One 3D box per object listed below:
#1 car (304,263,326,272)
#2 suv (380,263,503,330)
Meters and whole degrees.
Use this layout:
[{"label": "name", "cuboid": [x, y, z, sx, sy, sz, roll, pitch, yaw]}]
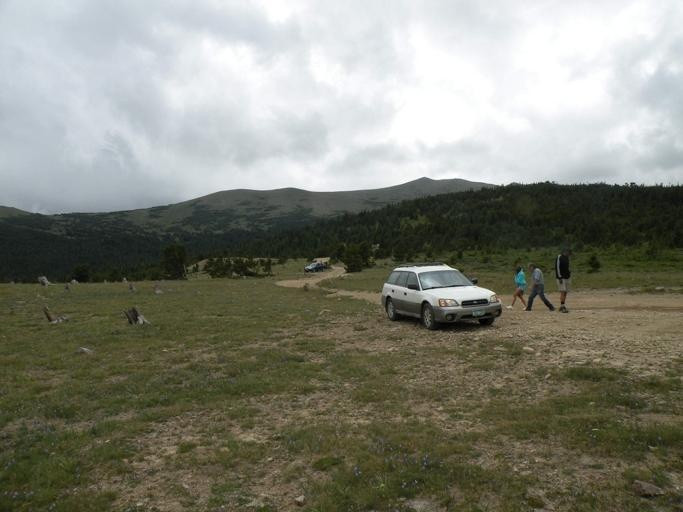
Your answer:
[{"label": "car", "cuboid": [-4.543, 1.841, 78.083, 1.517, 1.090, 2.836, -2, -2, 32]}, {"label": "suv", "cuboid": [3.550, 1.485, 18.192, 2.154, 1.852, 4.529, -2, -3, -18]}]
